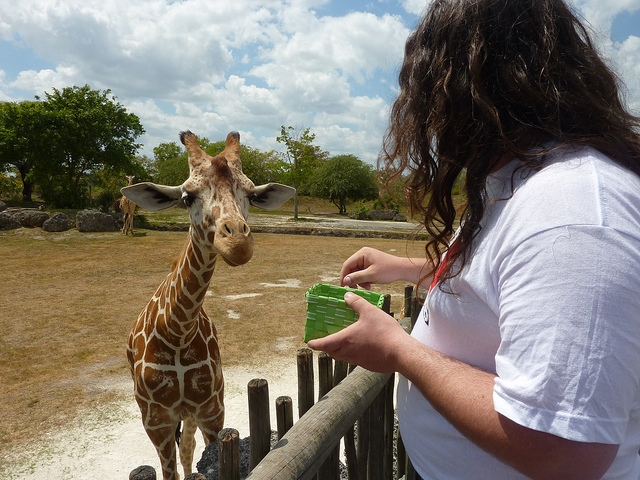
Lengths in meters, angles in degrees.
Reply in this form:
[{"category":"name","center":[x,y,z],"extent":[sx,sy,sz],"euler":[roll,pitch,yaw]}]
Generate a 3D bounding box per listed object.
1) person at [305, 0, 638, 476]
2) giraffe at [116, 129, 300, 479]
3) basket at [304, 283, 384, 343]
[{"category":"person","center":[0.588,-0.086,1.653],"extent":[0.835,1.455,0.512],"euler":[4,4,45]},{"category":"giraffe","center":[-0.779,0.510,3.207],"extent":[0.841,2.489,1.260],"euler":[1,3,-16]},{"category":"basket","center":[0.101,0.314,2.341],"extent":[0.183,0.206,0.311],"euler":[13,7,27]}]
